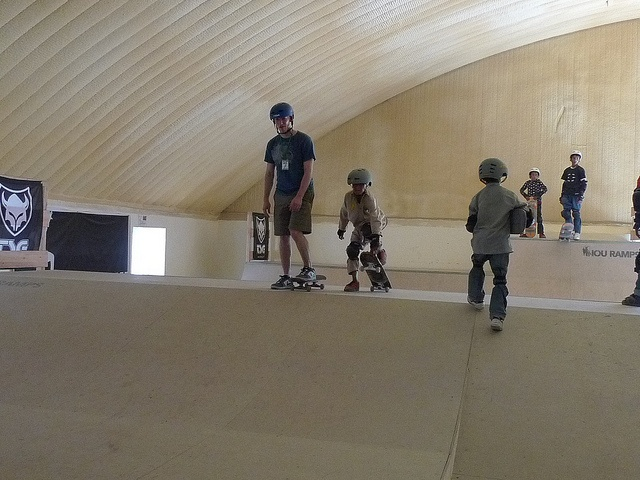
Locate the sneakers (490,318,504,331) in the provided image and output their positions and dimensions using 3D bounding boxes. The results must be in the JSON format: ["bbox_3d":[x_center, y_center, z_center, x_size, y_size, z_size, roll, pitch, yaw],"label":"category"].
[{"bbox_3d":[1.847,0.872,5.525,0.197,0.142,0.100,3,-4,-32],"label":"sneakers"}]

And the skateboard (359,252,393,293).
[{"bbox_3d":[0.702,0.365,6.777,0.262,0.143,0.620,-3,-48,28],"label":"skateboard"}]

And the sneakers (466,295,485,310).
[{"bbox_3d":[1.688,0.684,5.817,0.207,0.095,0.095,29,4,24],"label":"sneakers"}]

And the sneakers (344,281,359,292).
[{"bbox_3d":[0.391,0.582,6.671,0.092,0.102,0.194,-3,-7,32],"label":"sneakers"}]

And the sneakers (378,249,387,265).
[{"bbox_3d":[0.771,0.205,6.687,0.129,0.145,0.168,-5,10,-10],"label":"sneakers"}]

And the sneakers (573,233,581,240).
[{"bbox_3d":[5.273,-0.091,11.005,0.098,0.136,0.281,-1,-6,12],"label":"sneakers"}]

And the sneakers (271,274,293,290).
[{"bbox_3d":[-0.455,0.520,6.505,0.112,0.169,0.325,-1,-4,31],"label":"sneakers"}]

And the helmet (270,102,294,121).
[{"bbox_3d":[-0.459,-1.517,6.396,0.196,0.245,0.288,1,25,7],"label":"helmet"}]

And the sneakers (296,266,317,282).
[{"bbox_3d":[-0.161,0.410,6.511,0.107,0.158,0.323,-1,-7,17],"label":"sneakers"}]

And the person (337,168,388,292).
[{"bbox_3d":[0.531,-0.163,6.811,0.620,1.622,0.812,0,-4,5],"label":"person"}]

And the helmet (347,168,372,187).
[{"bbox_3d":[0.512,-0.773,6.616,0.242,0.211,0.420,-3,-5,45],"label":"helmet"}]

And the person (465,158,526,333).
[{"bbox_3d":[1.898,0.017,5.734,0.675,1.852,0.484,-1,-4,24],"label":"person"}]

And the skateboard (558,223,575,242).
[{"bbox_3d":[4.782,-0.150,10.413,0.261,0.380,0.320,-5,-8,43],"label":"skateboard"}]

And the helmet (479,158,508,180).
[{"bbox_3d":[1.912,-0.793,5.857,0.260,0.288,0.227,-11,13,-29],"label":"helmet"}]

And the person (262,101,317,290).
[{"bbox_3d":[-0.366,-0.569,6.577,0.650,2.333,0.812,1,-4,-6],"label":"person"}]
